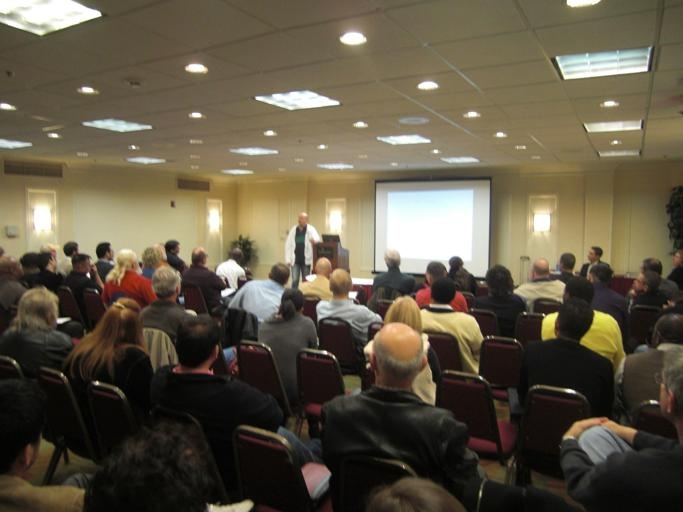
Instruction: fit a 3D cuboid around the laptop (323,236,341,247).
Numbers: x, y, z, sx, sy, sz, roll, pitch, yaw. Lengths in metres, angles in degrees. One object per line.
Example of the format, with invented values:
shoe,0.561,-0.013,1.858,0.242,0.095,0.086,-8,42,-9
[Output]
laptop,-0.199,-0.328,9.903,0.244,0.070,0.234,1,-23,18
